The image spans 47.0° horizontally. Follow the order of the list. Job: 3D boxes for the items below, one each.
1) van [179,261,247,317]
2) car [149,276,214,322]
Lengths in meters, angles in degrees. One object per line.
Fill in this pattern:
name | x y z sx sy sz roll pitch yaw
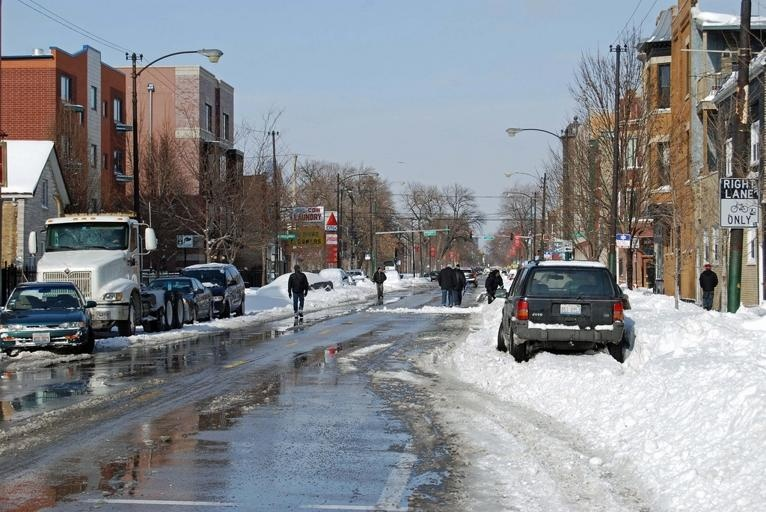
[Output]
van | -8.914 1.543 38.484 2.377 2.488 5.590 0 -2 -1
car | -7.405 1.713 34.446 1.638 1.566 4.073 0 -1 4
